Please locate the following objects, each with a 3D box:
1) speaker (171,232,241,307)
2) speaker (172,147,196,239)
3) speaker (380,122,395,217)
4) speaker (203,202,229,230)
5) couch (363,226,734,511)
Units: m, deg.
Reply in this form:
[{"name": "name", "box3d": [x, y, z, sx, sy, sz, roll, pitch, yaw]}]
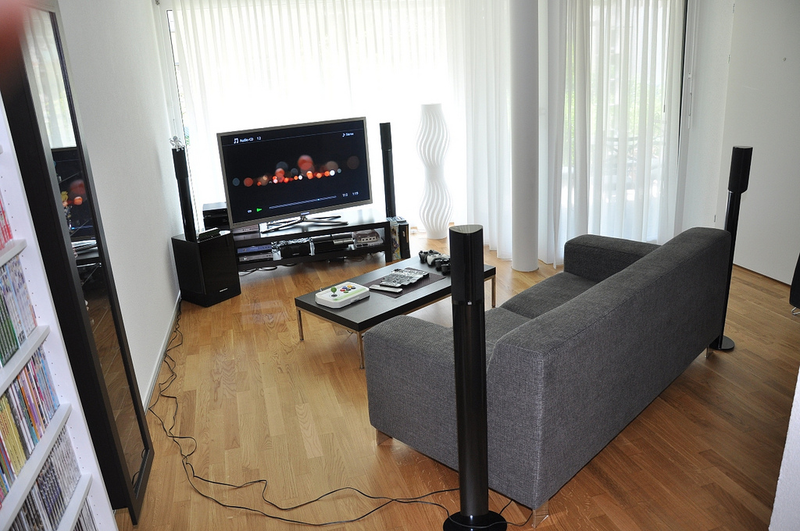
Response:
[{"name": "speaker", "box3d": [-1.863, -0.007, 5.155, 0.463, 0.590, 0.460, 6, 19, 24]}, {"name": "speaker", "box3d": [-1.903, -0.620, 4.768, 0.146, 0.796, 0.145, -3, 11, 0]}, {"name": "speaker", "box3d": [-0.136, -1.043, 5.865, 0.149, 1.006, 0.302, -6, 21, -1]}, {"name": "speaker", "box3d": [-1.853, -0.523, 5.385, 0.277, 0.204, 0.269, -8, 26, -20]}, {"name": "couch", "box3d": [1.071, 0.388, 3.512, 2.334, 0.967, 1.301, -19, 23, -36]}]
